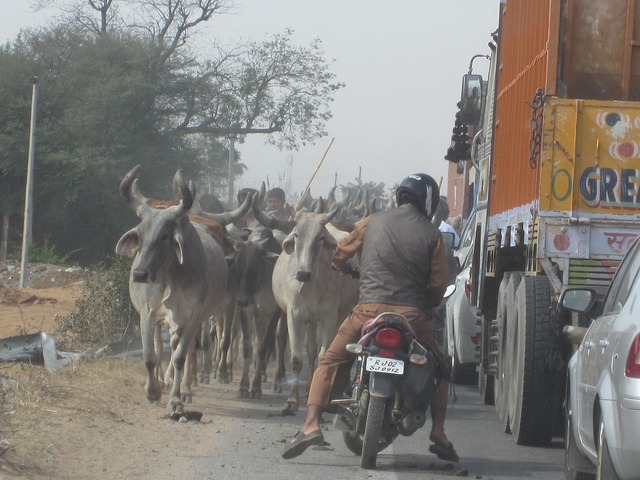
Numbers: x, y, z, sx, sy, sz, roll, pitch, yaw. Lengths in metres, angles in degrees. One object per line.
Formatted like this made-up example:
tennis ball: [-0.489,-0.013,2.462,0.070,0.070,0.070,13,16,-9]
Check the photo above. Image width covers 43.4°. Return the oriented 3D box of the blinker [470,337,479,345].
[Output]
blinker: [2.304,1.502,11.948,0.022,0.109,0.078,-9,-37,-17]

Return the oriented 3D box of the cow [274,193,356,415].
cow: [-0.085,1.021,11.223,0.914,2.756,3.390,3,-3,4]

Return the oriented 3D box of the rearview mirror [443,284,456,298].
rearview mirror: [1.262,0.492,7.800,0.052,0.112,0.626,4,1,15]

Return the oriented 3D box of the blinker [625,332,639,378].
blinker: [2.047,0.763,5.255,0.056,0.301,0.122,2,1,-27]

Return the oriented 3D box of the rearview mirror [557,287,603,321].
rearview mirror: [2.112,0.519,6.544,0.428,0.254,0.145,4,1,-18]

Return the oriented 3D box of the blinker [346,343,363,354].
blinker: [0.306,0.987,7.254,0.142,0.089,0.313,5,1,1]

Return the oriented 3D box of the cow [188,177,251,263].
cow: [-1.915,-0.232,13.739,0.770,1.650,1.781,0,1,7]

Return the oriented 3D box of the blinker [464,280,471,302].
blinker: [2.137,0.723,11.629,0.065,0.233,0.207,1,3,12]

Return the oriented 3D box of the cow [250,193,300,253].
cow: [-0.781,-0.291,13.145,0.618,0.730,1.191,6,8,0]
